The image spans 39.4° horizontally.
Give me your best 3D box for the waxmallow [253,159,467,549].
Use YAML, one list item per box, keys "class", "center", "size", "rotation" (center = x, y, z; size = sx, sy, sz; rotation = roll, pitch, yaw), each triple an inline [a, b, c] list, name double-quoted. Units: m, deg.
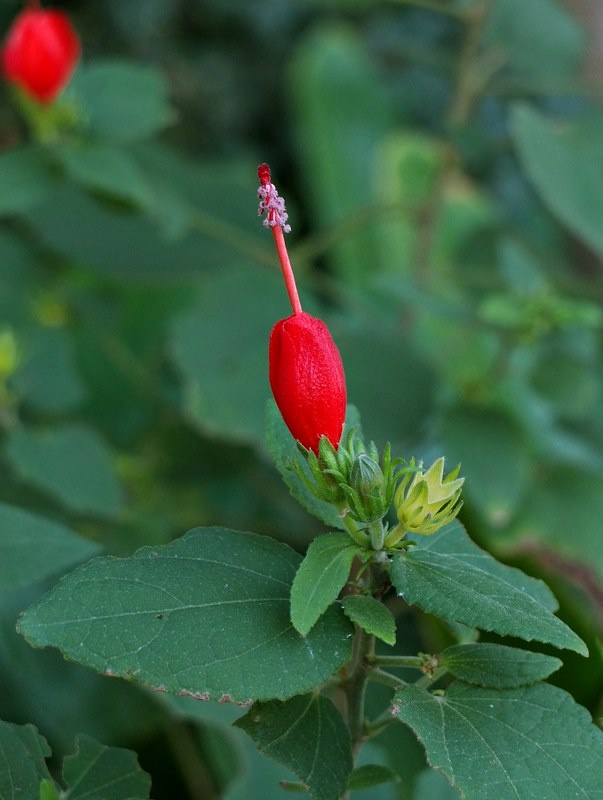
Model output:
- class: "waxmallow"
  center: [0.034, -0.018, 0.428]
  size: [0.103, 0.083, 0.181]
  rotation: [0, 94, 11]
